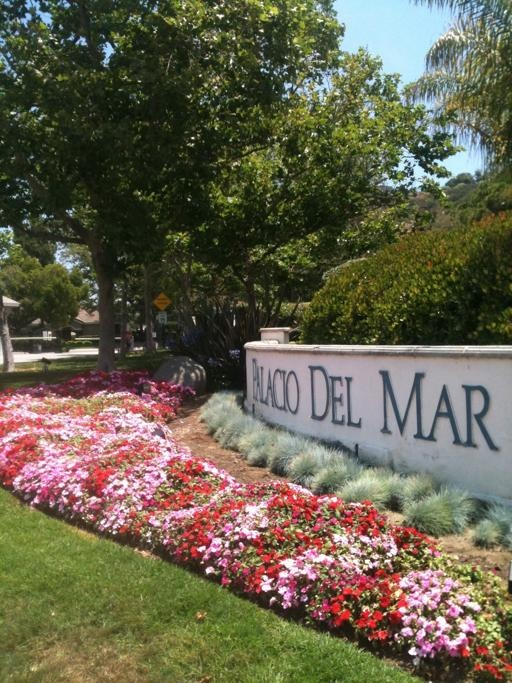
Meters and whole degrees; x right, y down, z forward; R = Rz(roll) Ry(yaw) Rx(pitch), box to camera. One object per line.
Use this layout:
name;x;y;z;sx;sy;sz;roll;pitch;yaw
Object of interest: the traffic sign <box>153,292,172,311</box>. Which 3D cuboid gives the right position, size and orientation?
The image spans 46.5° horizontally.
traffic sign;-3.792;-1.648;23.881;0.518;0.650;1.368;-1;1;-6
